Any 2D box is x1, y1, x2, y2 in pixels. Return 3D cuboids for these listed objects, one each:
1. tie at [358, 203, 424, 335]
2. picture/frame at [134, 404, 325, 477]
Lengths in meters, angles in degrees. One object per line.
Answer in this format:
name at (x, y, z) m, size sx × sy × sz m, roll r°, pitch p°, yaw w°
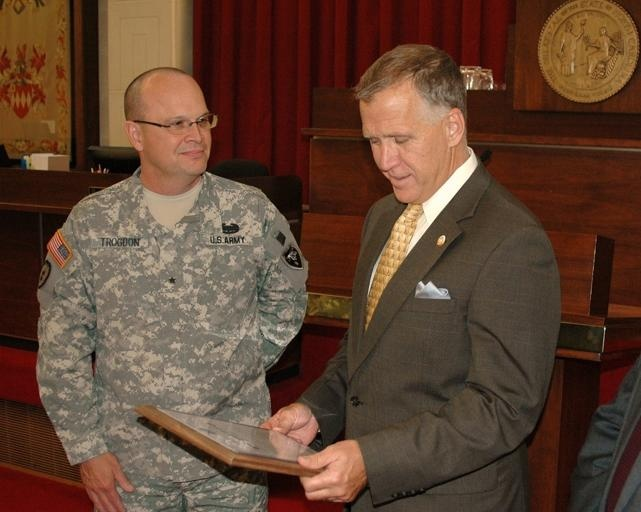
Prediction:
tie at (0.216, -0.028, 1.793) m, size 0.081 × 0.504 × 0.074 m, roll 16°, pitch -30°, yaw 13°
picture/frame at (-0.196, 0.422, 1.590) m, size 0.435 × 0.077 × 0.283 m, roll 13°, pitch 12°, yaw 38°
